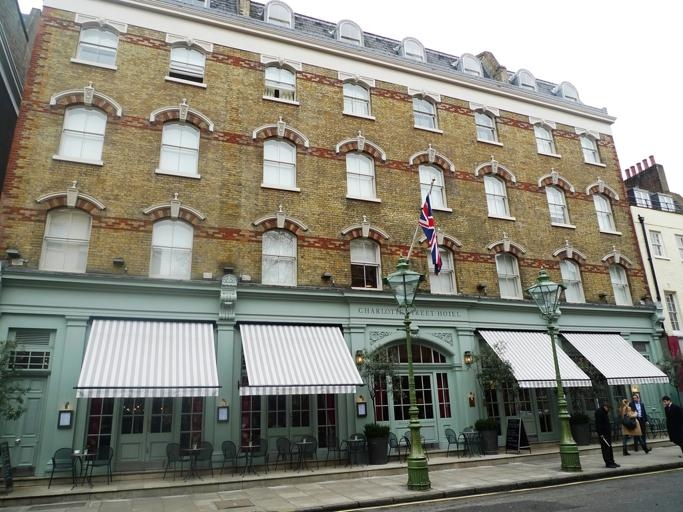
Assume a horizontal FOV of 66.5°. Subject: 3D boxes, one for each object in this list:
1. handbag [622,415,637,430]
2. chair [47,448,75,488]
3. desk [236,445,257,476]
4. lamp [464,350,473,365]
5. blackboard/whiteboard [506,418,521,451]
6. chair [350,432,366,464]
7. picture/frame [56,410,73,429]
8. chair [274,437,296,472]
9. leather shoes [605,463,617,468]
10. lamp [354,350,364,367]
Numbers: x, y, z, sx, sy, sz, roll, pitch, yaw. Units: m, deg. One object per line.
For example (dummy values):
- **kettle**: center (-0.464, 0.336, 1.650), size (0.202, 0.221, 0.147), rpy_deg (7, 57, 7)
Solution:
- **handbag**: center (10.942, 6.274, 19.756), size (0.489, 0.547, 0.259), rpy_deg (-10, -23, 14)
- **chair**: center (-8.359, 6.274, 15.655), size (0.680, 0.940, 0.721), rpy_deg (5, -17, -22)
- **desk**: center (-3.263, 6.924, 17.678), size (0.846, 0.886, 0.834), rpy_deg (13, -34, -23)
- **lamp**: center (5.210, 4.157, 21.450), size (0.338, 0.607, 0.409), rpy_deg (-6, -22, 5)
- **blackboard/whiteboard**: center (6.829, 7.072, 20.678), size (0.250, 1.257, 0.893), rpy_deg (8, -25, -27)
- **chair**: center (0.567, 6.931, 18.789), size (0.642, 1.039, 0.678), rpy_deg (-6, -22, 5)
- **picture/frame**: center (-8.709, 5.125, 16.427), size (0.429, 0.547, 0.251), rpy_deg (7, -25, -25)
- **chair**: center (-2.019, 6.949, 18.210), size (0.849, 1.220, 0.848), rpy_deg (9, -26, -20)
- **leather shoes**: center (8.947, 6.941, 17.284), size (0.285, 0.110, 0.186), rpy_deg (-13, -23, 21)
- **lamp**: center (0.700, 3.832, 19.746), size (0.374, 0.624, 0.206), rpy_deg (-6, -22, 3)
